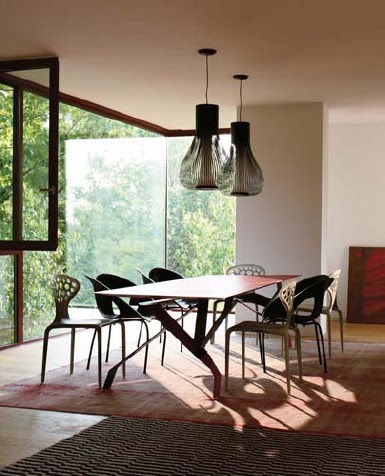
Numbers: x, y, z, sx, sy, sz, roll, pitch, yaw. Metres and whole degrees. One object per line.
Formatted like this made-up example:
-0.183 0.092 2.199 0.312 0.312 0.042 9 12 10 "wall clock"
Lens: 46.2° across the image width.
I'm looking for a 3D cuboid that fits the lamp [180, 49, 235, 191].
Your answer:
0.099 -0.820 3.936 0.420 0.772 0.275 0 -5 3 "lamp"
